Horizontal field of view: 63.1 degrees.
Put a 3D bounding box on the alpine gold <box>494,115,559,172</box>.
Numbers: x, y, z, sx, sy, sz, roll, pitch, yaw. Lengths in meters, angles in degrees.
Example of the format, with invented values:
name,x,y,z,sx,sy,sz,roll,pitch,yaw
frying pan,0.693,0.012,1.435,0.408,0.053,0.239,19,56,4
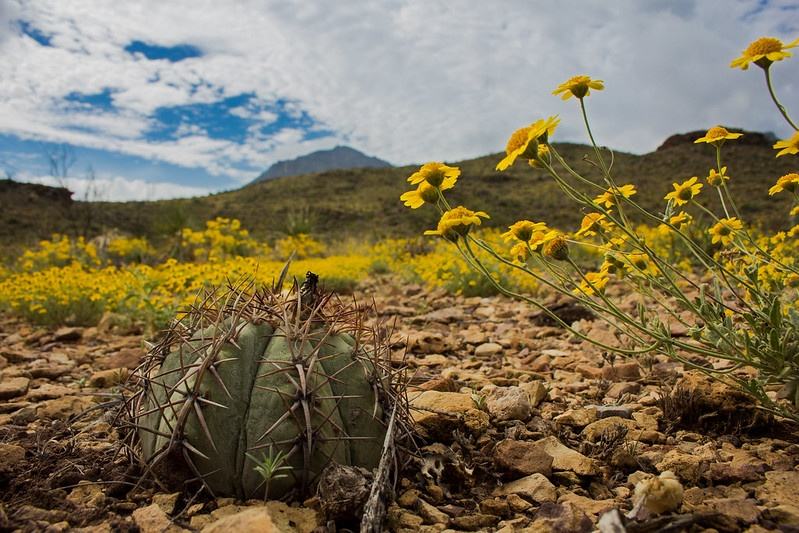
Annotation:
name,x,y,z,sx,sy,sz,roll,pitch,yaw
alpine gold,0.881,-0.853,4.518,0.339,0.311,0.433,3,-4,7

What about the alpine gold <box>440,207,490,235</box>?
name,x,y,z,sx,sy,sz,roll,pitch,yaw
alpine gold,0.427,-0.329,4.595,0.238,0.140,0.227,2,11,21

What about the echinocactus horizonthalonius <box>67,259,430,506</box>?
name,x,y,z,sx,sy,sz,roll,pitch,yaw
echinocactus horizonthalonius,-0.871,0.824,4.149,1.594,1.672,1.443,3,2,9

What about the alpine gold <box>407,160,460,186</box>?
name,x,y,z,sx,sy,sz,roll,pitch,yaw
alpine gold,0.237,-0.659,4.632,0.360,0.173,0.309,0,-5,44
